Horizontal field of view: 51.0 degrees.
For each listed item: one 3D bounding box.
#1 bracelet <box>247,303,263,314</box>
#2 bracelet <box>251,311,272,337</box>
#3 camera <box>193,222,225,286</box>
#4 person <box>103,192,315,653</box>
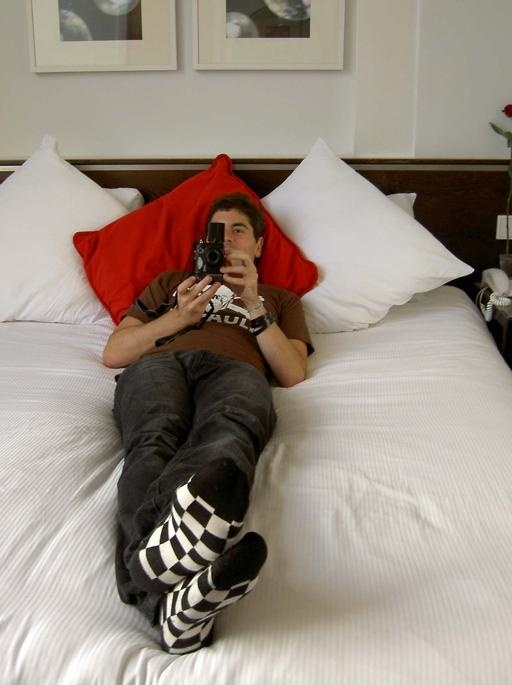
[{"bbox_3d":[-0.004,-0.087,1.372,0.024,0.014,0.018,-14,45,-16],"label":"bracelet"},{"bbox_3d":[0.007,-0.047,1.357,0.045,0.032,0.058,-9,-12,-35],"label":"bracelet"},{"bbox_3d":[-0.109,-0.238,1.374,0.091,0.137,0.137,8,17,20],"label":"camera"},{"bbox_3d":[-0.099,0.029,1.078,0.329,0.427,1.053,5,19,2],"label":"person"}]
